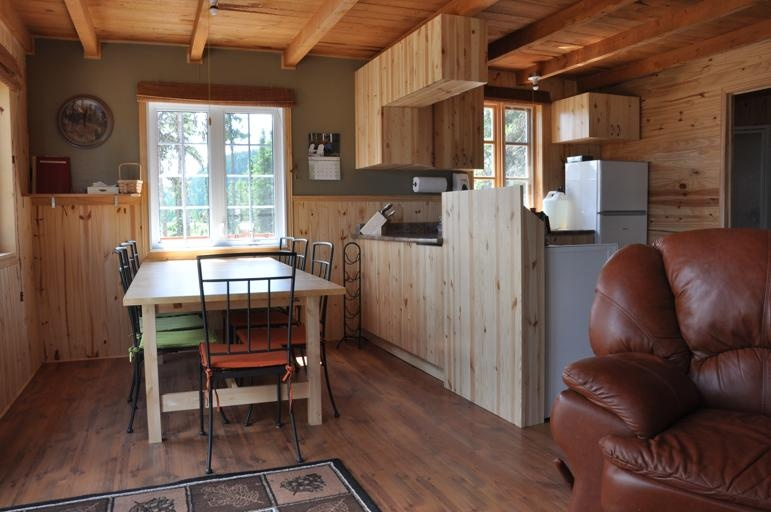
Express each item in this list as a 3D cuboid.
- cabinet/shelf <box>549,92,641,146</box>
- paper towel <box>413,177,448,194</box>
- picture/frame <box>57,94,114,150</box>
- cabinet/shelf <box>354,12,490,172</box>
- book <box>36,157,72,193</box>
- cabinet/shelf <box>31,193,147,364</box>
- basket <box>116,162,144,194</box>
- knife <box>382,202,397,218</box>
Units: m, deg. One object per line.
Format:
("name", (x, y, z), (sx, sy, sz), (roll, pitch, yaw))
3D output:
("cabinet/shelf", (2.517, -1.620, 6.706), (0.708, 0.431, 0.706), (1, 1, 22))
("paper towel", (0.516, -0.783, 6.365), (0.405, 0.209, 0.334), (-1, 12, -3))
("picture/frame", (-2.922, -1.283, 5.444), (0.556, 0.550, 0.095), (1, 0, -18))
("cabinet/shelf", (0.293, -1.452, 5.372), (0.753, 1.209, 1.214), (-6, -6, 15))
("book", (-3.208, -0.744, 5.380), (0.231, 0.389, 0.279), (15, 14, 37))
("cabinet/shelf", (-2.959, 0.188, 5.541), (0.270, 1.665, 0.972), (9, 9, 42))
("basket", (-2.472, -0.705, 5.458), (0.194, 0.307, 0.191), (-4, -9, 0))
("knife", (0.030, -0.480, 6.021), (0.169, 0.202, 0.159), (5, 7, 43))
